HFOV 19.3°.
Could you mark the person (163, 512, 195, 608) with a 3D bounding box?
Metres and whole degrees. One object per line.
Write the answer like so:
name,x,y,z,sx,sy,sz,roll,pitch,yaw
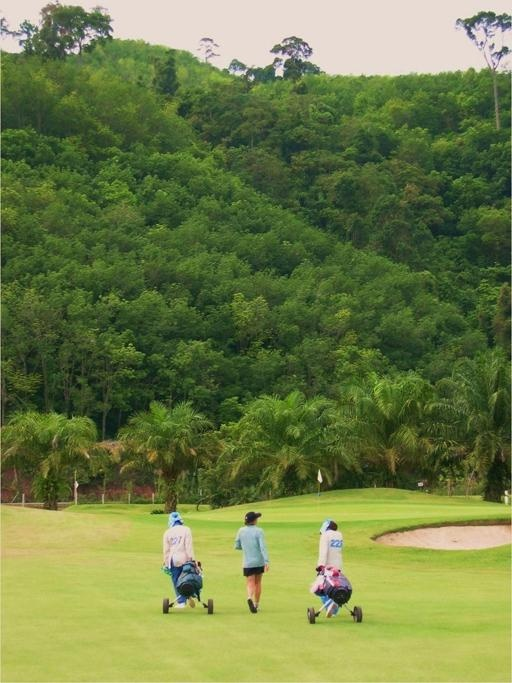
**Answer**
person,-2.190,6.168,41.787,0.829,2.783,0.903,1,7,-4
